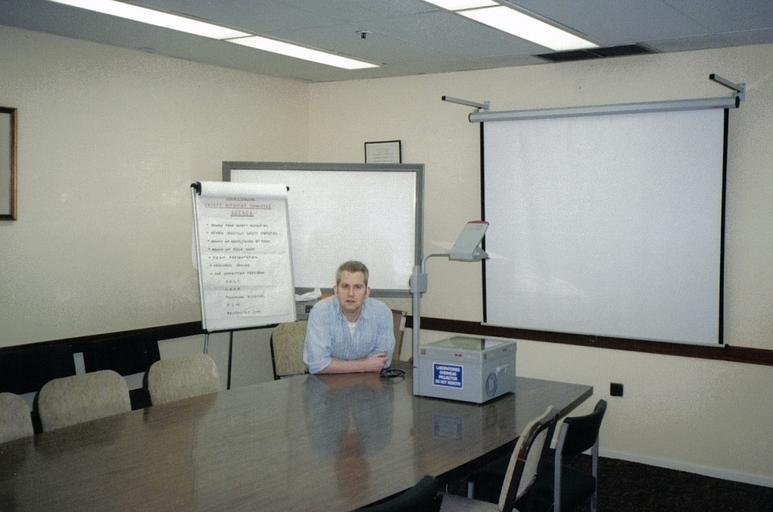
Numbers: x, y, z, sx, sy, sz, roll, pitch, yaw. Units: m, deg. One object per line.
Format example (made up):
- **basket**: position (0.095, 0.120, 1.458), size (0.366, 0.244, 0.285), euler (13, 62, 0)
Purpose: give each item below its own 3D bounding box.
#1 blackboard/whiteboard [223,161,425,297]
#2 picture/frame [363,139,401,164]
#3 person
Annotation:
- **blackboard/whiteboard**: position (-0.609, -0.260, 5.252), size (1.359, 0.907, 0.060), euler (0, 0, 1)
- **picture/frame**: position (-0.023, -1.153, 6.135), size (0.414, 0.280, 0.017), euler (2, 5, 30)
- **person**: position (-0.264, 0.516, 4.278), size (0.678, 0.929, 0.727), euler (13, 15, 39)
